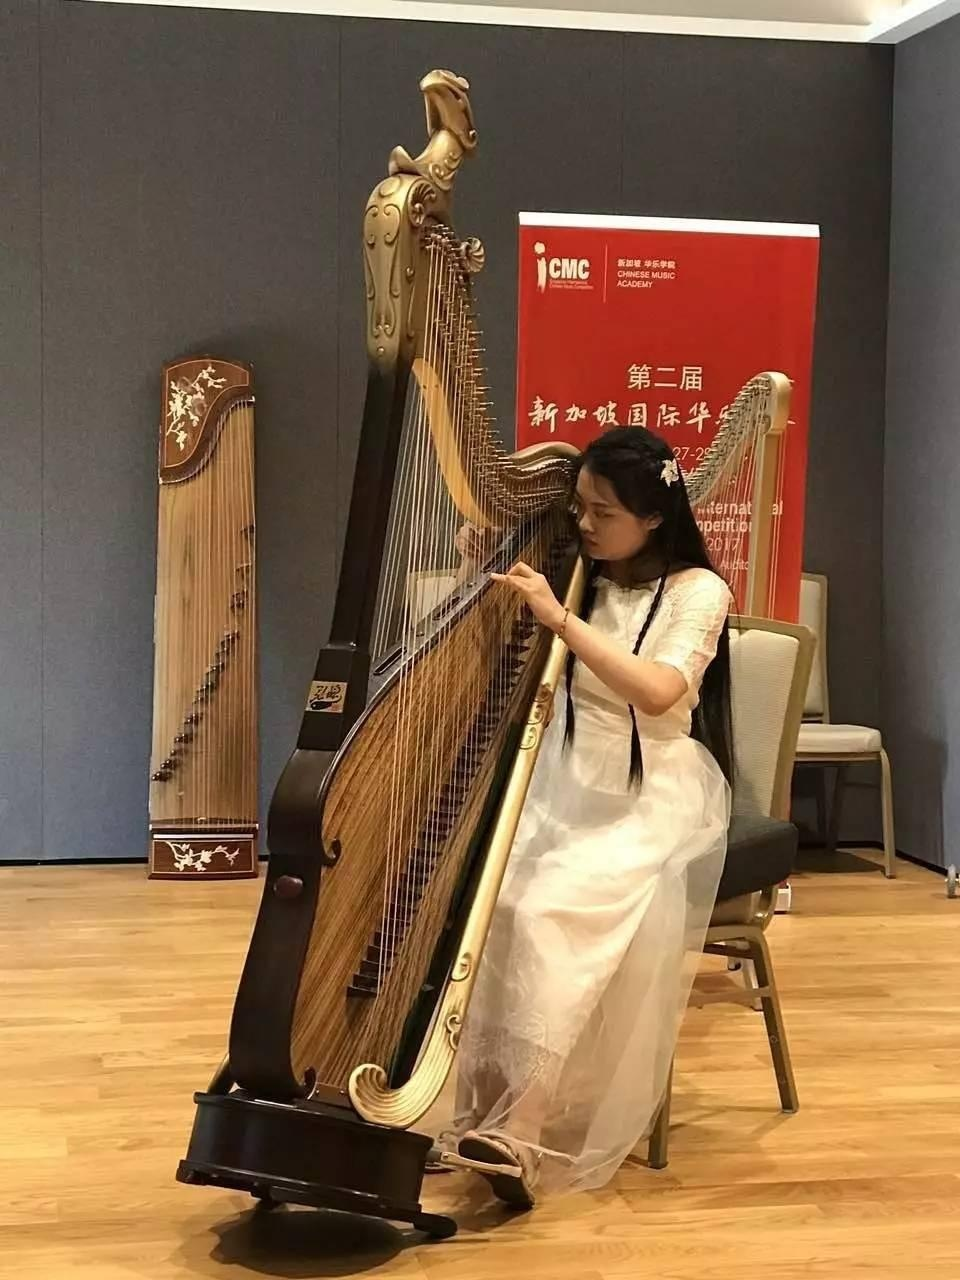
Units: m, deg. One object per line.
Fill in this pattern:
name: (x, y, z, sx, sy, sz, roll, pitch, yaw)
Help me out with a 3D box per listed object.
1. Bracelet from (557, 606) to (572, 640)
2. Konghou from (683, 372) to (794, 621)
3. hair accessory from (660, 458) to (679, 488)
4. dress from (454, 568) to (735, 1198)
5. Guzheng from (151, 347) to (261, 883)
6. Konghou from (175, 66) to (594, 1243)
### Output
Bracelet: (0.114, -0.024, 1.667, 0.015, 0.037, 0.032, 10, 5, 5)
Konghou: (0.645, -0.379, 2.931, 0.312, 0.799, 0.367, 3, 8, 12)
hair accessory: (0.297, -0.257, 1.894, 0.017, 0.045, 0.036, 16, -18, -28)
dress: (0.159, 0.314, 1.893, 0.511, 0.852, 0.517, 0, 3, -14)
Guzheng: (-0.872, -0.047, 3.844, 0.300, 1.672, 0.289, -1, 8, -22)
Konghou: (-0.118, 0.121, 1.427, 0.321, 1.180, 0.800, 1, 0, 12)
